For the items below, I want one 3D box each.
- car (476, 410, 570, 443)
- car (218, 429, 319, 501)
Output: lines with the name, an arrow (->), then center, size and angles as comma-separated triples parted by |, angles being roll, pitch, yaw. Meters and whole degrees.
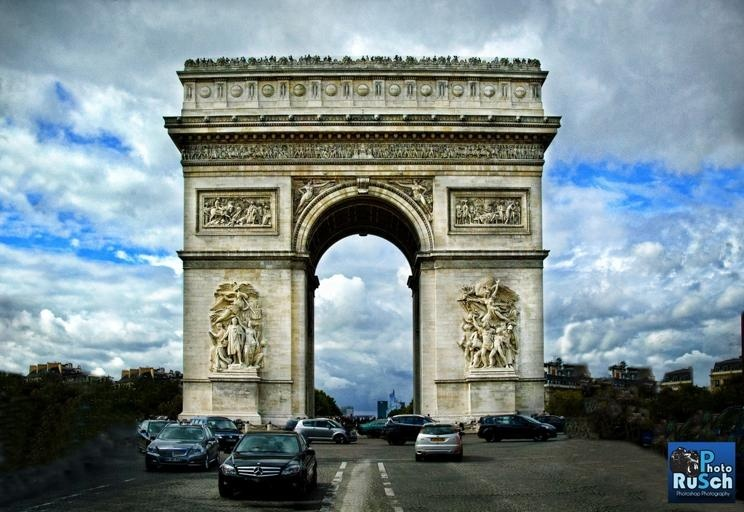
car -> 8.467, 10.182, 50.732 | 3.972, 1.313, 1.861 | -2, -12, 1
car -> -3.577, 6.991, 28.468 | 3.116, 1.939, 2.606 | 1, -4, -4
